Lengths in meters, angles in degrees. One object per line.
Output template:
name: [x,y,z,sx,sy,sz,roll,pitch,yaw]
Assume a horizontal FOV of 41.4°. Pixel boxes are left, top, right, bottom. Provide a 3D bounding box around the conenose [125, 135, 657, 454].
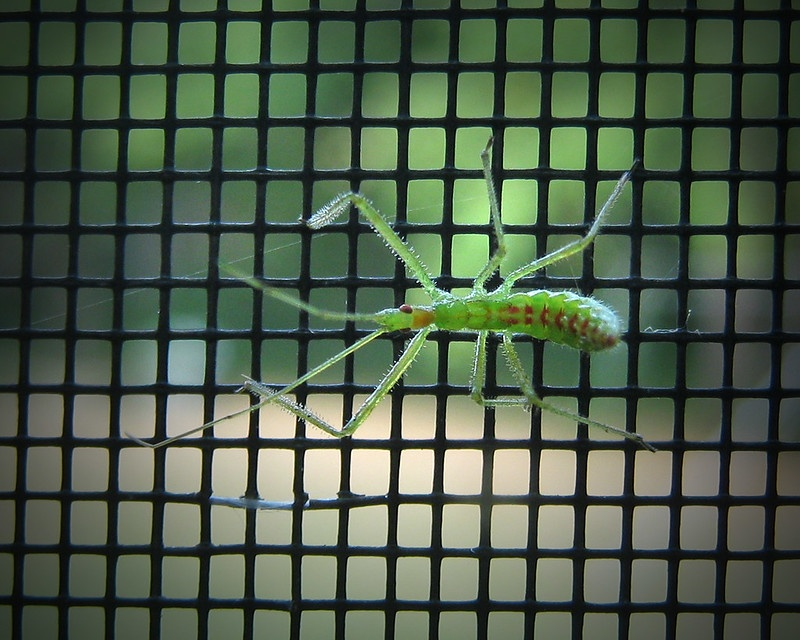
conenose: [0.207,-0.069,4.741,1.664,0.699,1.175,-1,-87,0]
